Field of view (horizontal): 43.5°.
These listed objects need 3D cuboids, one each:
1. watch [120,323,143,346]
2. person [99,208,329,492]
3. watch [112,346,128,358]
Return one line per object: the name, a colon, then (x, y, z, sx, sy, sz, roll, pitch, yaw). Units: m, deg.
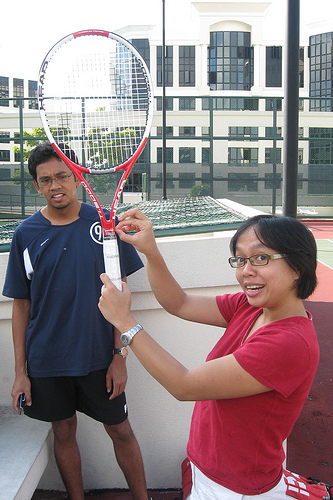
watch: (-0.093, 0.229, 1.161, 0.061, 0.036, 0.062, -12, 50, -4)
person: (0.142, 0.352, 1.302, 0.642, 0.960, 0.553, 1, 9, 21)
watch: (-0.197, 0.416, 1.727, 0.061, 0.040, 0.065, -5, -4, 22)
